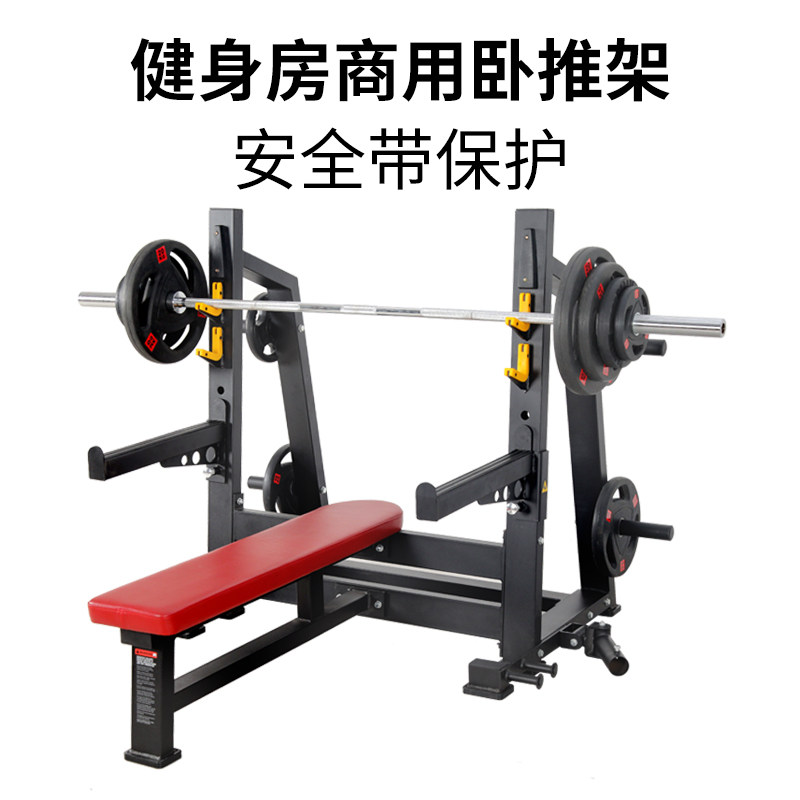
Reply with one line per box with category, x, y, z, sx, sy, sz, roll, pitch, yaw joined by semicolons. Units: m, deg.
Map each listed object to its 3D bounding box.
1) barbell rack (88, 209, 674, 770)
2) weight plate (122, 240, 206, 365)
barbell rack;-0.176;0.400;2.988;1.583;1.405;1.594;2;3;24
weight plate;-0.796;-0.334;3.107;0.098;0.362;0.459;9;-67;28
